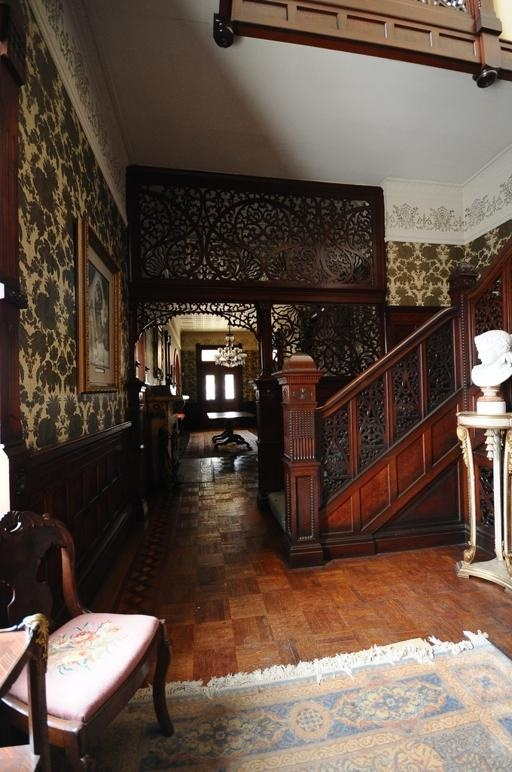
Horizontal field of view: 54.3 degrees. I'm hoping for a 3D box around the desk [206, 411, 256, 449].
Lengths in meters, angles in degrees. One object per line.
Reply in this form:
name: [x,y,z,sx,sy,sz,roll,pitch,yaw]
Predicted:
desk: [-0.540,0.871,10.227,0.729,0.632,2.469,-2,1,-5]
